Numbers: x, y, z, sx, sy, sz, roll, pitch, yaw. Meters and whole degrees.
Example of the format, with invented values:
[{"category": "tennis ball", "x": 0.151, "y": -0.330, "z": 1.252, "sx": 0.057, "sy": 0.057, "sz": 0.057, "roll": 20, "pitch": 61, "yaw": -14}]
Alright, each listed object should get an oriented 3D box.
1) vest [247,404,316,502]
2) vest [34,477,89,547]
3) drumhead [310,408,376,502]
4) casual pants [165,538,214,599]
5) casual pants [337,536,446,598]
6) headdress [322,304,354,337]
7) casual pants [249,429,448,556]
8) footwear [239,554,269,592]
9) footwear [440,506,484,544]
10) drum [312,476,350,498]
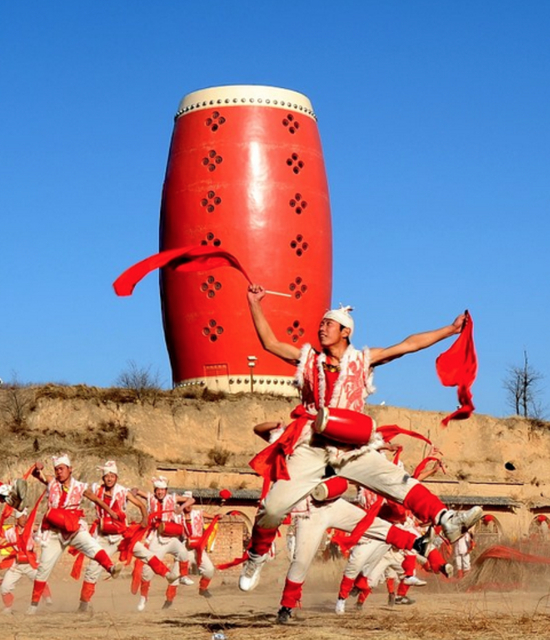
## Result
[{"category": "vest", "x": 0.103, "y": 1.033, "z": 8.221, "sx": 0.329, "sy": 0.760, "sz": 0.216, "roll": 14, "pitch": -16, "yaw": 28}, {"category": "vest", "x": -2.081, "y": 1.843, "z": 10.406, "sx": 0.438, "sy": 0.520, "sz": 0.356, "roll": 4, "pitch": 0, "yaw": -31}, {"category": "drumhead", "x": 0.541, "y": 0.966, "z": 7.937, "sx": 0.280, "sy": 0.433, "sz": 0.451, "roll": 30, "pitch": 27, "yaw": 31}, {"category": "casual pants", "x": -1.007, "y": 3.101, "z": 13.164, "sx": 0.623, "sy": 0.930, "sz": 0.269, "roll": -7, "pitch": -41, "yaw": 14}, {"category": "casual pants", "x": 1.170, "y": 2.478, "z": 10.756, "sx": 1.213, "sy": 0.638, "sz": 0.335, "roll": -7, "pitch": -8, "yaw": -8}, {"category": "headdress", "x": 0.571, "y": -0.007, "z": 8.285, "sx": 0.327, "sy": 0.196, "sz": 0.317, "roll": 6, "pitch": -4, "yaw": 25}, {"category": "casual pants", "x": 0.687, "y": 1.364, "z": 8.177, "sx": 0.586, "sy": 0.927, "sz": 1.351, "roll": -24, "pitch": -15, "yaw": 10}, {"category": "footwear", "x": -0.163, "y": 2.082, "z": 8.303, "sx": 0.160, "sy": 0.435, "sz": 0.183, "roll": 18, "pitch": -7, "yaw": -1}, {"category": "footwear", "x": 1.338, "y": 1.489, "z": 7.602, "sx": 0.289, "sy": 0.259, "sz": 0.337, "roll": -1, "pitch": -13, "yaw": 3}, {"category": "drum", "x": 0.427, "y": 1.319, "z": 8.291, "sx": 0.233, "sy": 0.135, "sz": 0.141, "roll": -10, "pitch": 28, "yaw": -43}]
